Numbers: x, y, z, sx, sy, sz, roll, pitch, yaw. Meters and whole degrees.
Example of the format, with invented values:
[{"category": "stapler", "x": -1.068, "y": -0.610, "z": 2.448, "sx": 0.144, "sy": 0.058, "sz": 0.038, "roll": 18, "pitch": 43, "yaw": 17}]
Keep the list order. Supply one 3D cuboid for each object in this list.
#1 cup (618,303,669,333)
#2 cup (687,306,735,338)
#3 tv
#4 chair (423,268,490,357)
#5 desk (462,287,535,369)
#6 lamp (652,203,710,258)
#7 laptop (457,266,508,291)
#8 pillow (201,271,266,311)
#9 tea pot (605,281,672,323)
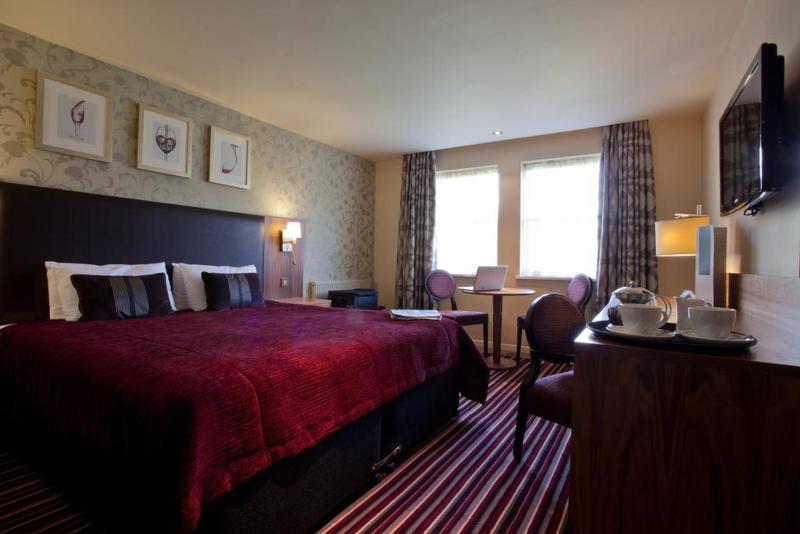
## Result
[{"category": "cup", "x": 1.197, "y": 0.242, "z": 2.462, "sx": 0.163, "sy": 0.123, "sz": 0.143, "roll": 0, "pitch": -4, "yaw": 11}, {"category": "cup", "x": 1.488, "y": 0.259, "z": 2.406, "sx": 0.160, "sy": 0.122, "sz": 0.158, "roll": 0, "pitch": -2, "yaw": 0}, {"category": "tv", "x": 2.339, "y": -0.881, "z": 3.337, "sx": 0.148, "sy": 1.004, "sz": 1.373, "roll": 0, "pitch": 3, "yaw": 23}, {"category": "chair", "x": 0.634, "y": 0.537, "z": 5.919, "sx": 0.603, "sy": 1.006, "sz": 0.559, "roll": -3, "pitch": -1, "yaw": 40}, {"category": "desk", "x": 1.118, "y": 0.619, "z": 5.563, "sx": 0.797, "sy": 0.803, "sz": 0.805, "roll": 0, "pitch": -2, "yaw": -17}, {"category": "lamp", "x": 2.252, "y": -0.251, "z": 4.064, "sx": 0.261, "sy": 0.317, "sz": 0.369, "roll": -6, "pitch": 4, "yaw": -34}, {"category": "laptop", "x": 0.939, "y": 0.058, "z": 5.372, "sx": 0.341, "sy": 0.240, "sz": 0.259, "roll": 0, "pitch": 4, "yaw": -24}, {"category": "pillow", "x": -1.544, "y": 0.234, "z": 4.717, "sx": 0.200, "sy": 0.374, "sz": 0.585, "roll": -13, "pitch": -9, "yaw": 38}, {"category": "tea pot", "x": 1.447, "y": 0.270, "z": 3.026, "sx": 0.349, "sy": 0.343, "sz": 0.275, "roll": -3, "pitch": 6, "yaw": 16}]
